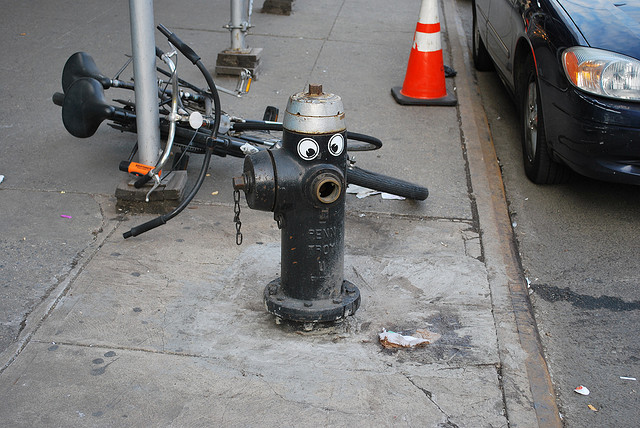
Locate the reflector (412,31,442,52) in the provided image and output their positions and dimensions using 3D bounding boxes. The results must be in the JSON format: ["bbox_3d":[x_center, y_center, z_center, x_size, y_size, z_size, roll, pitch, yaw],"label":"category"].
[{"bbox_3d":[1.363,-2.156,7.852,0.279,0.253,0.281,0,14,0],"label":"reflector"}]

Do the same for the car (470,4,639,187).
[{"bbox_3d":[2.440,-1.165,6.312,0.776,1.727,2.308,5,35,-1],"label":"car"}]

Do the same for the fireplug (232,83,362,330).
[{"bbox_3d":[-0.146,-0.051,4.313,0.860,1.466,0.826,-5,37,-14],"label":"fireplug"}]

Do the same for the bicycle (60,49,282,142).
[{"bbox_3d":[-1.509,-1.181,6.394,1.872,0.557,1.149,18,-1,-5],"label":"bicycle"}]
